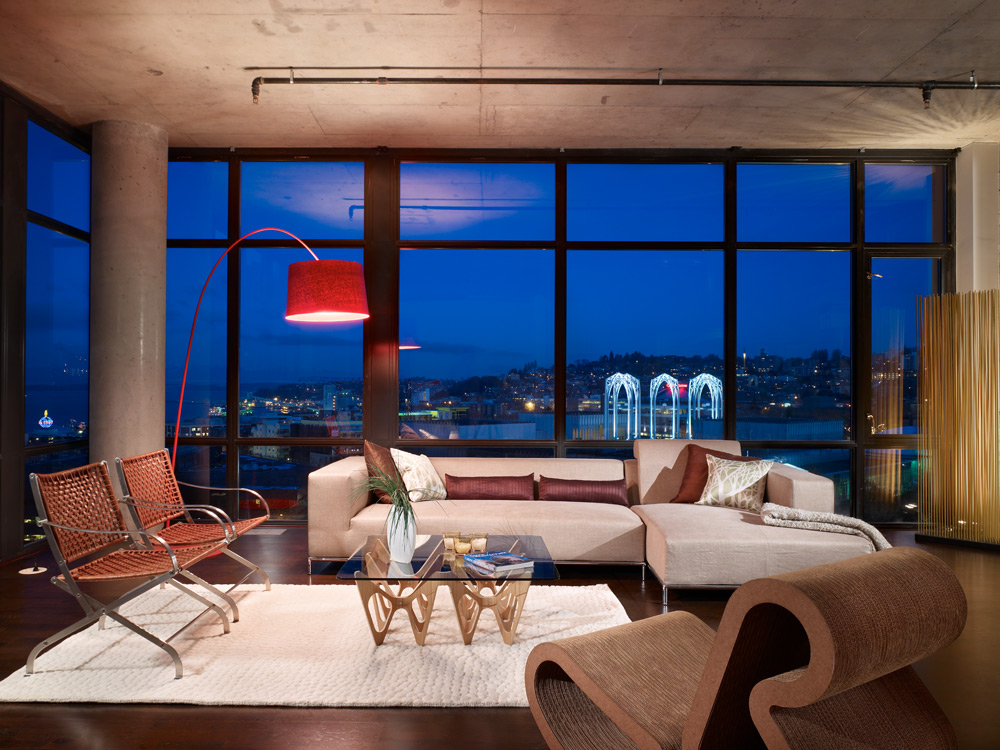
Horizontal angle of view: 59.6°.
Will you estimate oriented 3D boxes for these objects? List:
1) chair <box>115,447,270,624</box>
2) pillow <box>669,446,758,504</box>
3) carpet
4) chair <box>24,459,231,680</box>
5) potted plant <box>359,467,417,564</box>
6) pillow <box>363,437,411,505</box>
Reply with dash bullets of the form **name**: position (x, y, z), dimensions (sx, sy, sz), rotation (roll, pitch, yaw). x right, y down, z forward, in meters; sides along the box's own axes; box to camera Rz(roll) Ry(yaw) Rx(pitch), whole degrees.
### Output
- **chair**: position (-2.040, 1.056, 5.697), dimensions (0.877, 0.981, 0.863), rotation (6, 0, 21)
- **pillow**: position (1.582, 0.812, 6.884), dimensions (0.149, 0.472, 0.492), rotation (29, -17, -39)
- **carpet**: position (-1.059, 1.595, 5.094), dimensions (3.313, 0.292, 1.485), rotation (-5, 4, -7)
- **chair**: position (-2.151, 1.068, 5.269), dimensions (0.870, 1.045, 1.355), rotation (-1, 0, -2)
- **potted plant**: position (-0.634, 0.788, 5.171), dimensions (0.248, 0.590, 0.288), rotation (-14, 37, -13)
- **pillow**: position (-0.834, 0.700, 6.253), dimensions (0.161, 0.519, 0.497), rotation (-26, -25, 20)
